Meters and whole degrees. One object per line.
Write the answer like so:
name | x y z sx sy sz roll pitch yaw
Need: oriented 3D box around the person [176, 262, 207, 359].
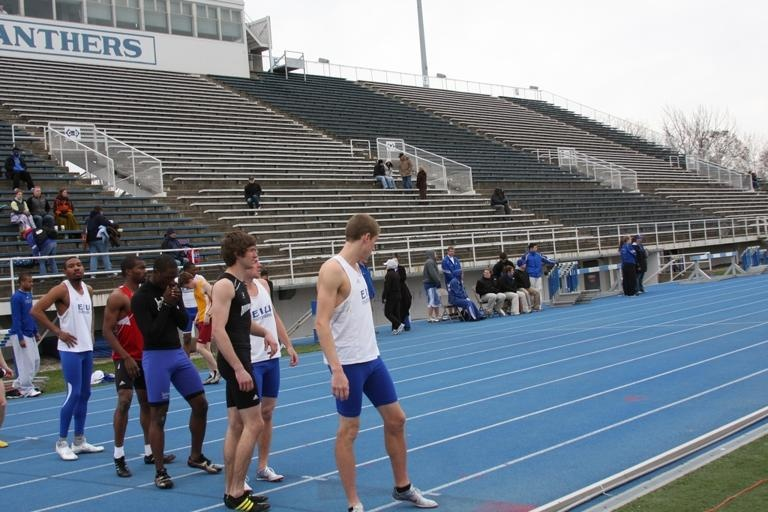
person | -3.279 1.279 12.194 0.711 1.985 0.683 -8 -6 -12

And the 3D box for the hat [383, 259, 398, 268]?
hat | 0.161 0.221 17.575 0.295 0.208 0.218 -4 -6 11

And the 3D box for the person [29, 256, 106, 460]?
person | -4.052 1.314 8.544 0.656 2.582 0.911 -5 4 -28

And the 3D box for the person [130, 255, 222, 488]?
person | -2.347 1.281 7.784 1.084 2.414 0.918 0 1 32

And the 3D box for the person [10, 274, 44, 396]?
person | -6.525 1.493 12.190 0.622 2.249 0.705 -1 2 -20
